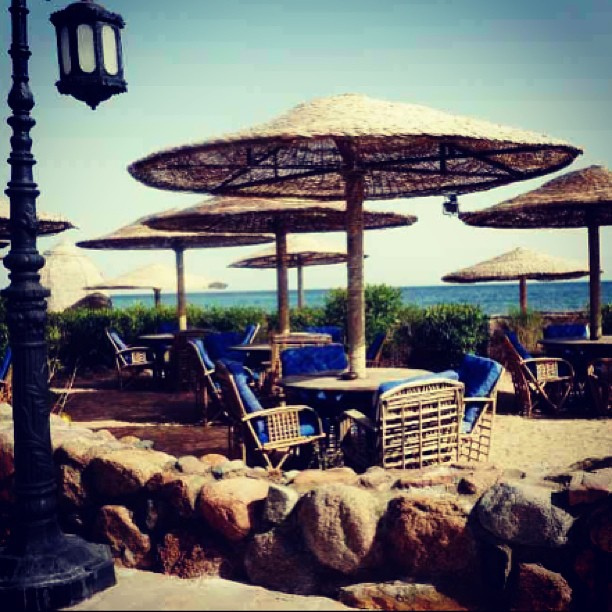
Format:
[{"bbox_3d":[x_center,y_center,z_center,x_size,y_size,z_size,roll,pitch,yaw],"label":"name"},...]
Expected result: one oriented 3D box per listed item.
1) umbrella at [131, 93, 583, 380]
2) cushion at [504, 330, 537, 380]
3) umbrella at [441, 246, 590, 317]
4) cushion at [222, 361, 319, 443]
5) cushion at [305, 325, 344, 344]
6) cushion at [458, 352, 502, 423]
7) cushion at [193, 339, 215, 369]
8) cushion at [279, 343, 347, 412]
[{"bbox_3d":[0.482,-1.513,12.664,3.206,2.438,3.643,-1,-1,39],"label":"umbrella"},{"bbox_3d":[2.693,0.626,15.322,0.121,0.721,0.178,-34,3,12],"label":"cushion"},{"bbox_3d":[3.670,-0.510,20.661,2.522,1.207,1.696,5,3,20],"label":"umbrella"},{"bbox_3d":[-0.390,0.887,11.524,0.780,0.957,0.658,-6,-4,-12],"label":"cushion"},{"bbox_3d":[0.253,0.348,16.366,0.378,0.152,0.291,0,6,12],"label":"cushion"},{"bbox_3d":[1.591,0.689,11.434,0.120,0.560,0.490,20,-5,-34],"label":"cushion"},{"bbox_3d":[-1.231,0.566,14.227,0.078,0.363,0.090,-25,0,11],"label":"cushion"},{"bbox_3d":[0.055,0.729,12.822,0.604,0.852,0.641,2,-10,-21],"label":"cushion"}]
